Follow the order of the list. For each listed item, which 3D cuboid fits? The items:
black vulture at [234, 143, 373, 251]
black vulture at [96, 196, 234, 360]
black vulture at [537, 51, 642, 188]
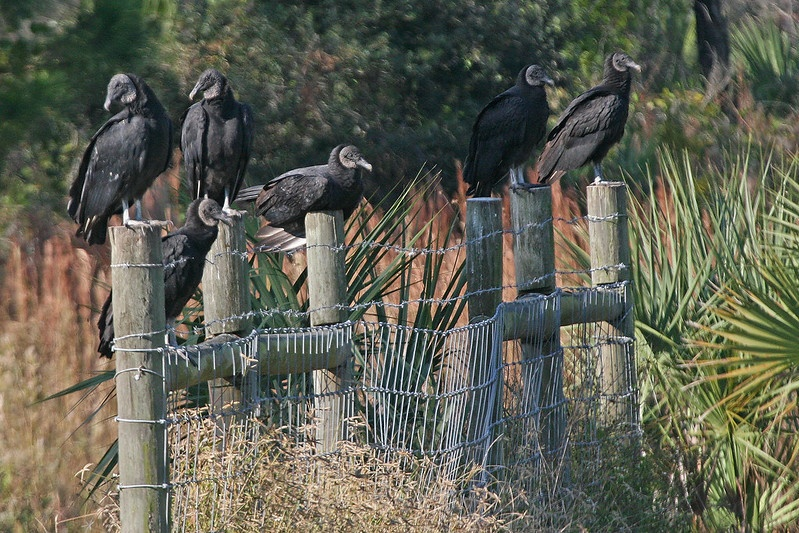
[{"bbox_3d":[-0.856,-0.585,14.620,1.325,0.894,0.654,1,0,22],"label":"black vulture"},{"bbox_3d":[-1.787,0.085,13.338,1.017,1.187,0.818,-3,3,-6],"label":"black vulture"},{"bbox_3d":[1.638,-1.296,14.986,0.902,1.097,0.526,-2,3,5],"label":"black vulture"}]
